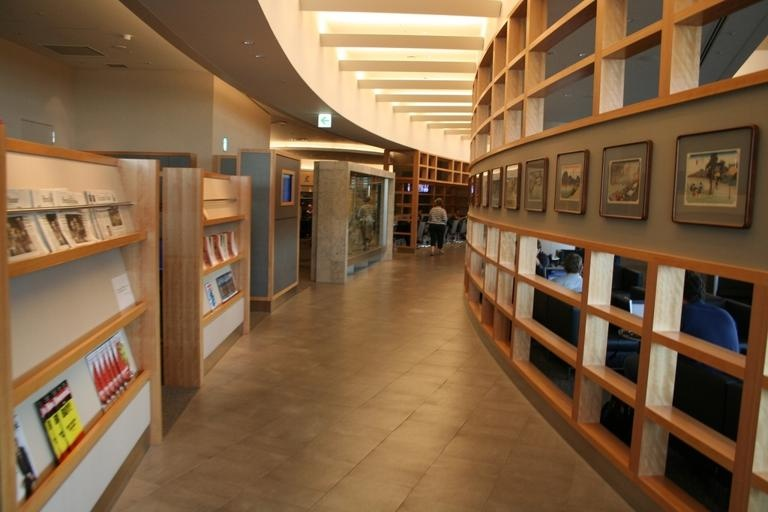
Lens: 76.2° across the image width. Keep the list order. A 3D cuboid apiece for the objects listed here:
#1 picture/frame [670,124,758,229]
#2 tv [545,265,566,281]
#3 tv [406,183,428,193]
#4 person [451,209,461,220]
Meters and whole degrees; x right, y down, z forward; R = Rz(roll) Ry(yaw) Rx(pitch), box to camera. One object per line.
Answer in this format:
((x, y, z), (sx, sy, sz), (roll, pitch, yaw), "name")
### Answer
((1.925, -0.458, 2.833), (0.077, 0.782, 0.612), (1, 2, -21), "picture/frame")
((2.903, 0.278, 8.350), (0.358, 0.103, 0.402), (1, 6, 16), "tv")
((1.102, -2.362, 17.051), (0.325, 0.212, 1.476), (10, 4, 14), "tv")
((3.065, -1.782, 21.201), (0.346, 0.337, 1.078), (10, 15, 3), "person")
